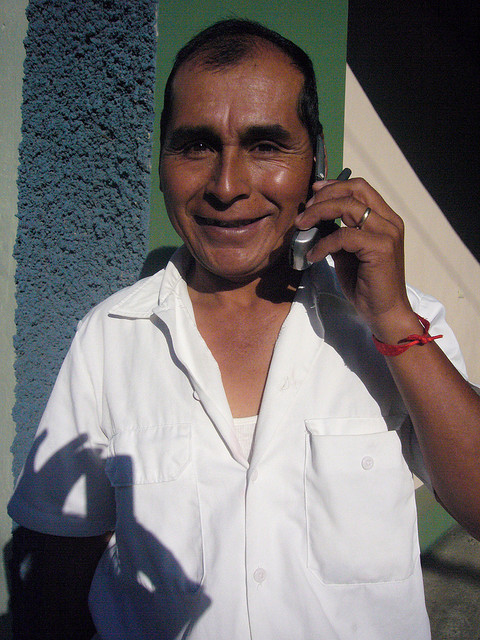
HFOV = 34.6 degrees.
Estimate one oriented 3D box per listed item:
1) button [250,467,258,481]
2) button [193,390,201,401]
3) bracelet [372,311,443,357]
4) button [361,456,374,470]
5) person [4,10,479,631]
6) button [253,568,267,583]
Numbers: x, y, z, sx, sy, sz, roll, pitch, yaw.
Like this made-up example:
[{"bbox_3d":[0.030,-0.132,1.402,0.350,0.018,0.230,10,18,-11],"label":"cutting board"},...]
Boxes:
[{"bbox_3d":[0.042,0.428,2.141,0.023,0.029,0.007,6,0,-25],"label":"button"},{"bbox_3d":[-0.127,0.222,2.279,0.005,0.021,0.021,-22,19,-36],"label":"button"},{"bbox_3d":[0.452,0.033,2.099,0.140,0.049,0.119,2,54,23],"label":"bracelet"},{"bbox_3d":[0.363,0.407,2.195,0.037,0.005,0.039,1,70,-5],"label":"button"},{"bbox_3d":[0.035,0.129,2.254,1.357,1.794,0.883,8,26,20],"label":"person"},{"bbox_3d":[0.056,0.699,2.116,0.035,0.032,0.021,-1,24,0],"label":"button"}]
